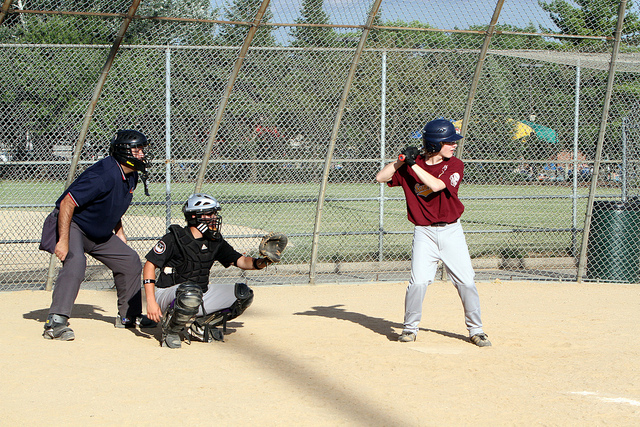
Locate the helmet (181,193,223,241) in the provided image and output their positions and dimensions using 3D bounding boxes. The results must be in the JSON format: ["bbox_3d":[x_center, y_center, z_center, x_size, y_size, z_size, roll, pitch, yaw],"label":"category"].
[{"bbox_3d":[-1.317,0.025,7.783,0.575,0.523,0.433,0,6,-1],"label":"helmet"}]

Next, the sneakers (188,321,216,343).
[{"bbox_3d":[-1.375,1.366,7.950,0.130,0.363,0.167,-32,0,-6],"label":"sneakers"}]

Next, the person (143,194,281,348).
[{"bbox_3d":[-1.190,0.627,7.903,1.711,1.519,1.182,4,-3,-23],"label":"person"}]

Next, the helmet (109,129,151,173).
[{"bbox_3d":[-2.125,-0.726,7.986,0.548,0.454,0.400,0,14,-9],"label":"helmet"}]

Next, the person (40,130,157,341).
[{"bbox_3d":[-2.539,0.259,7.919,1.266,2.325,0.601,-6,17,-25],"label":"person"}]

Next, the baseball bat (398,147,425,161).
[{"bbox_3d":[1.049,-0.674,7.923,0.273,0.177,0.103,-8,-23,-11],"label":"baseball bat"}]

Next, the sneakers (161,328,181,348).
[{"bbox_3d":[-1.684,1.414,7.775,0.216,0.183,0.141,-2,15,-11],"label":"sneakers"}]

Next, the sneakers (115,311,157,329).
[{"bbox_3d":[-2.217,1.279,8.327,0.461,0.165,0.195,0,2,-12],"label":"sneakers"}]

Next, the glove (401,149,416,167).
[{"bbox_3d":[1.016,-0.633,7.869,0.162,0.184,0.072,0,0,-20],"label":"glove"}]

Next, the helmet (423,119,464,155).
[{"bbox_3d":[1.445,-0.919,8.016,0.517,0.368,0.362,3,34,19],"label":"helmet"}]

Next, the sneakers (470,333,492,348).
[{"bbox_3d":[1.875,1.478,8.028,0.130,0.086,0.220,0,-3,-20],"label":"sneakers"}]
